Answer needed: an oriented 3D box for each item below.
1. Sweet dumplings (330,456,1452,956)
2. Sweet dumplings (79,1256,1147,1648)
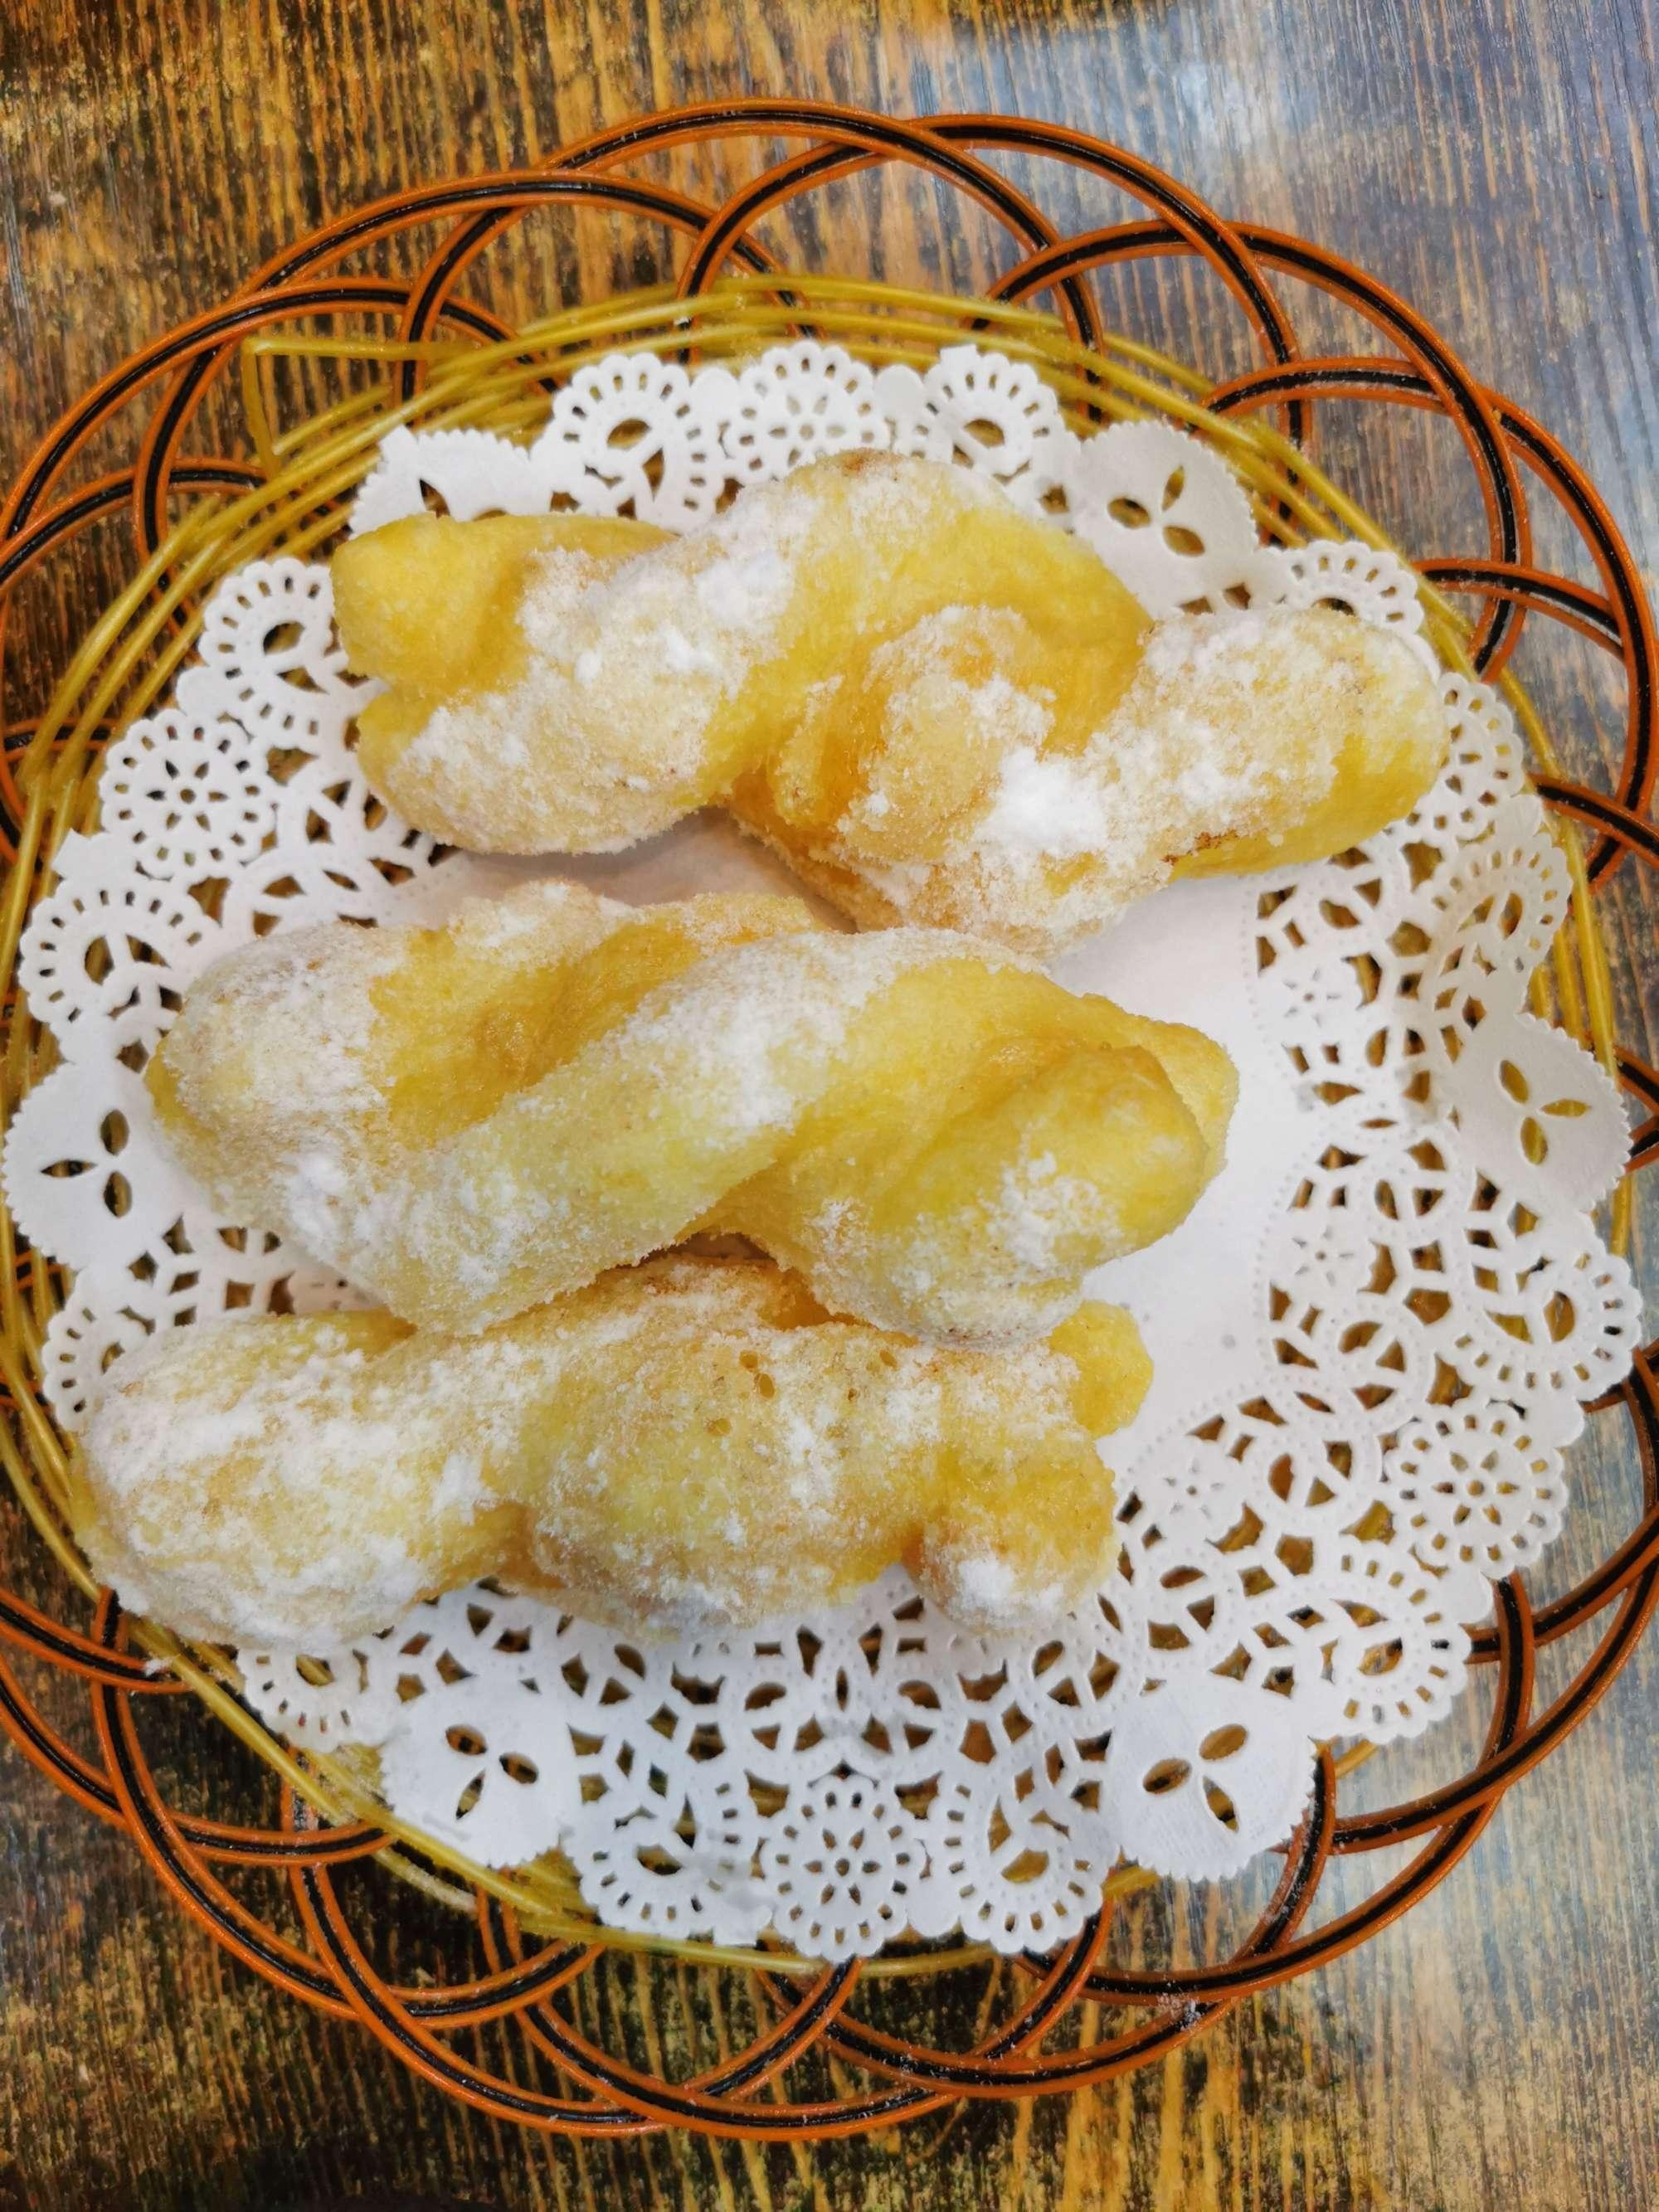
[{"bbox_3d":[0.020,-0.157,1.383,0.351,0.127,0.208,8,67,-1],"label":"Sweet dumplings"},{"bbox_3d":[-0.086,0.133,1.247,0.368,0.129,0.180,-3,49,-5],"label":"Sweet dumplings"}]
